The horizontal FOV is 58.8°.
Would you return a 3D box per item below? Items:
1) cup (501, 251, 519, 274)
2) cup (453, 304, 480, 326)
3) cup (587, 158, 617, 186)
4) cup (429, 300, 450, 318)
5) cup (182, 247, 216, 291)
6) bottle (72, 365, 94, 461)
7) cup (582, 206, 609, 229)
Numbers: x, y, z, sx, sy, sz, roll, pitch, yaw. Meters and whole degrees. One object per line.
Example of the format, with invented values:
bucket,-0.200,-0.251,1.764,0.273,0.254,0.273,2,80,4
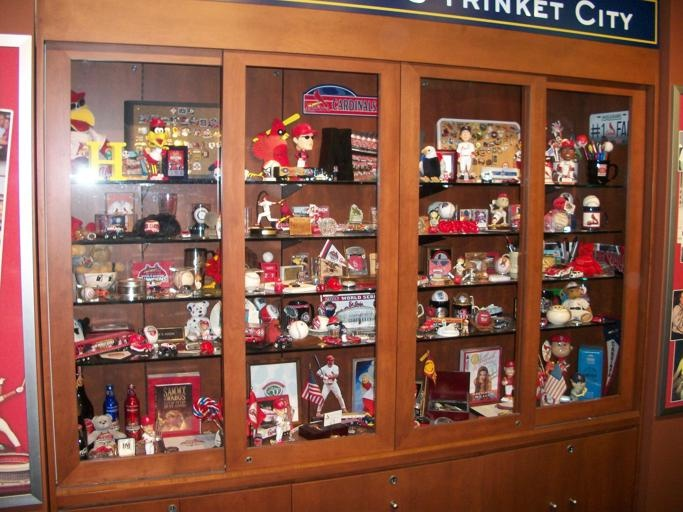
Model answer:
cup,0.969,0.032,3.481,0.094,0.159,0.103,0,7,0
cup,0.732,0.345,3.593,0.131,0.138,0.109,1,-1,0
cup,1.535,-0.503,3.611,0.163,0.129,0.109,1,6,9
cup,0.568,0.312,3.550,0.092,0.098,0.101,1,6,0
cup,-0.721,0.057,3.251,0.225,0.248,0.139,1,-2,-9
bottle,-1.319,0.765,3.123,0.067,0.447,0.290,-4,5,-21
cup,1.506,-0.225,3.644,0.142,0.132,0.092,0,5,3
